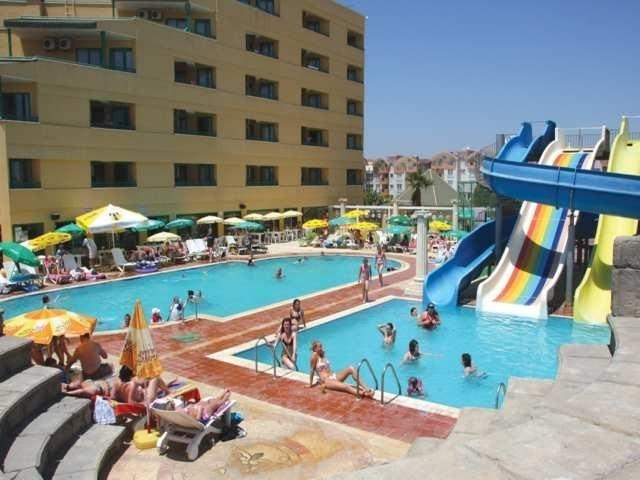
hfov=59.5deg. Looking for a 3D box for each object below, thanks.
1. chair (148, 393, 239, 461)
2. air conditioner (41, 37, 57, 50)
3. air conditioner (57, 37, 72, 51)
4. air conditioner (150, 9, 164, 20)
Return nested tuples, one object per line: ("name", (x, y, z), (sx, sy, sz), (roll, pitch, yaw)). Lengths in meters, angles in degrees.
("chair", (-2.226, 3.303, 10.446), (0.834, 0.707, 1.410), (3, 14, 26))
("air conditioner", (-16.222, -11.636, 33.663), (0.960, 0.857, 0.539), (3, 12, 8))
("air conditioner", (-15.236, -11.601, 33.471), (0.682, 0.735, 0.256), (-1, 10, 12))
("air conditioner", (-11.080, -15.023, 37.711), (0.658, 0.445, 0.666), (-4, 17, -12))
